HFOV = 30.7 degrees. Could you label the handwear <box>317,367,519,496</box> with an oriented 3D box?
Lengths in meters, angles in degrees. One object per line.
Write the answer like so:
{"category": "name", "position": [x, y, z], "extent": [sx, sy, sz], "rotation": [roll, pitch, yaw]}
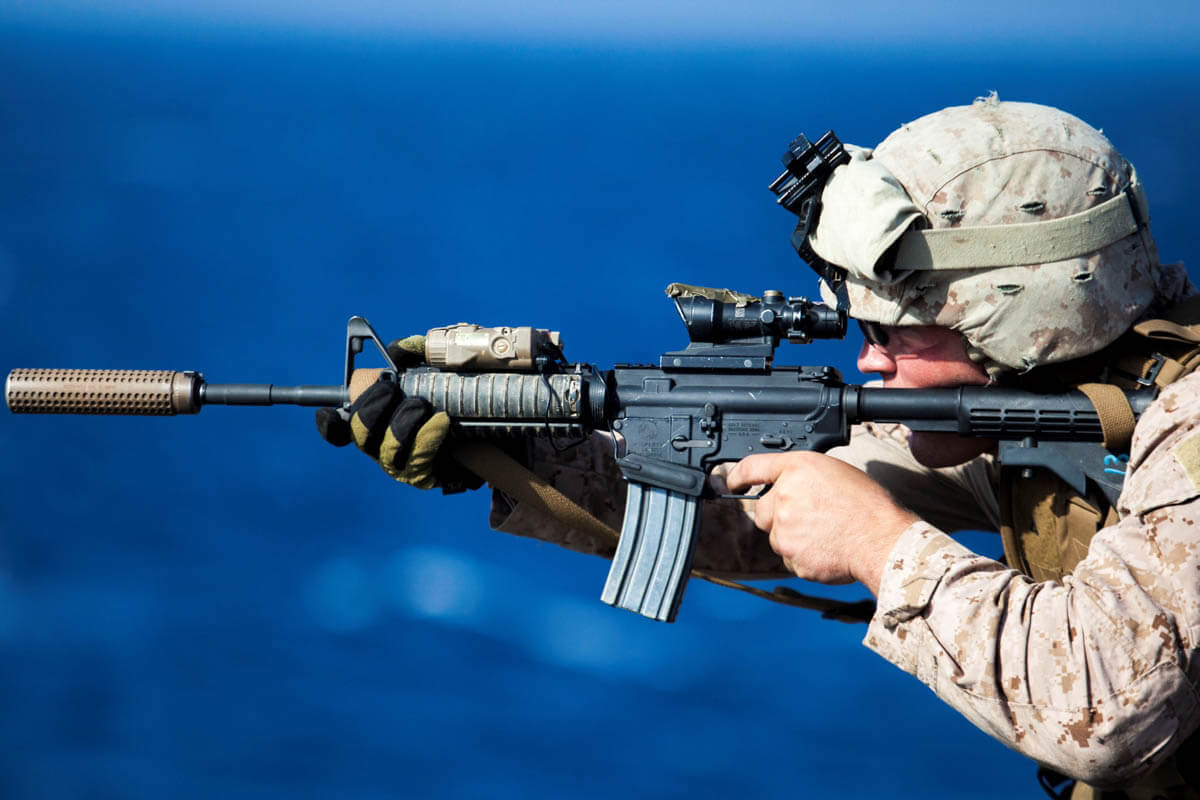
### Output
{"category": "handwear", "position": [-0.627, 0.078, 8.012], "extent": [0.603, 0.291, 0.216], "rotation": [26, 0, 6]}
